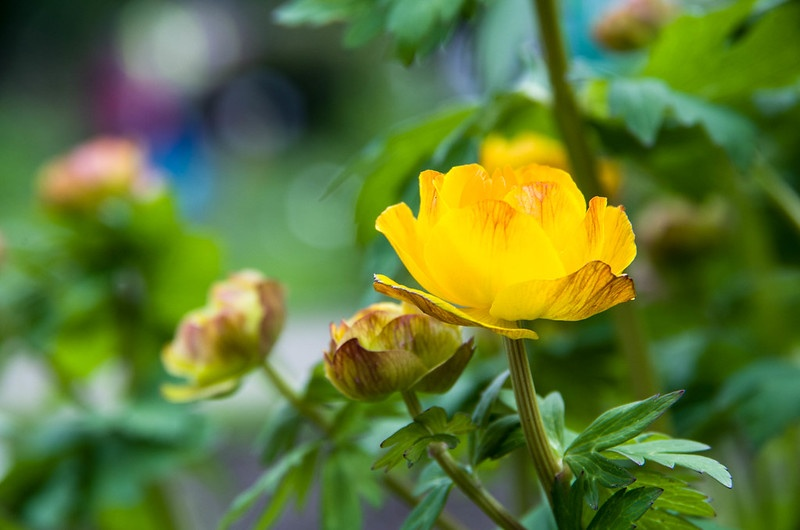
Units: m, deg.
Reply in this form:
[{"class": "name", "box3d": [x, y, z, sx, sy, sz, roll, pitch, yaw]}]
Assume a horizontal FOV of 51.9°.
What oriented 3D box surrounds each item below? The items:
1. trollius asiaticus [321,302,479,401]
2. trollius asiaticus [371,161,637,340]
[{"class": "trollius asiaticus", "box3d": [-0.003, 0.080, 0.735, 0.092, 0.057, 0.098, 2, -5, 8]}, {"class": "trollius asiaticus", "box3d": [0.085, -0.014, 0.682, 0.172, 0.116, 0.162, -7, 28, -11]}]
